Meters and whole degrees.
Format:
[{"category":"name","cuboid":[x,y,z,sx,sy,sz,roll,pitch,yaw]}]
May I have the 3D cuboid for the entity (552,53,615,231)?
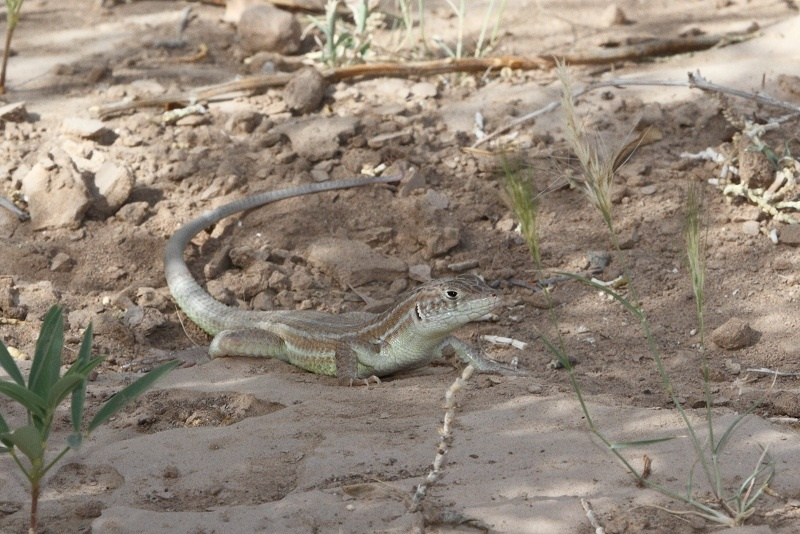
[{"category":"entity","cuboid":[1.282,-0.845,7.935,0.246,1.263,0.300,38,34,29]}]
